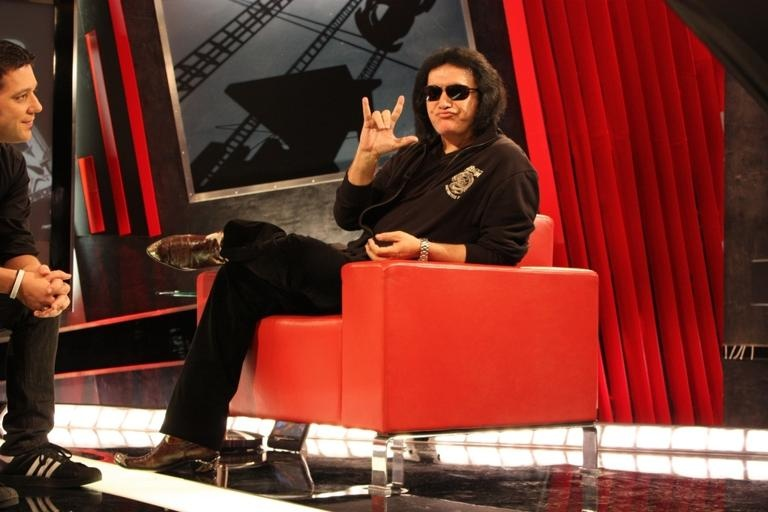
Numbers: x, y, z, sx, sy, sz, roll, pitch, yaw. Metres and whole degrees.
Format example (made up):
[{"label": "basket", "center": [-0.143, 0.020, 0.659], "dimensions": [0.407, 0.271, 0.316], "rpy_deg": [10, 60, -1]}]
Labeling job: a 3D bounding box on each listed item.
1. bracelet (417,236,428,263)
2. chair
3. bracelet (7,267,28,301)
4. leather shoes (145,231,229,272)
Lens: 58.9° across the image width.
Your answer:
[{"label": "bracelet", "center": [0.156, -0.020, 2.588], "dimensions": [0.053, 0.077, 0.076], "rpy_deg": [1, -20, 7]}, {"label": "chair", "center": [0.061, 0.412, 3.153], "dimensions": [1.225, 0.996, 1.467], "rpy_deg": [4, -8, -28]}, {"label": "bracelet", "center": [-1.360, 0.103, 2.524], "dimensions": [0.049, 0.095, 0.026], "rpy_deg": [2, -5, -26]}, {"label": "leather shoes", "center": [-1.118, -0.027, 3.922], "dimensions": [0.626, 0.187, 0.232], "rpy_deg": [1, 12, 1]}]
